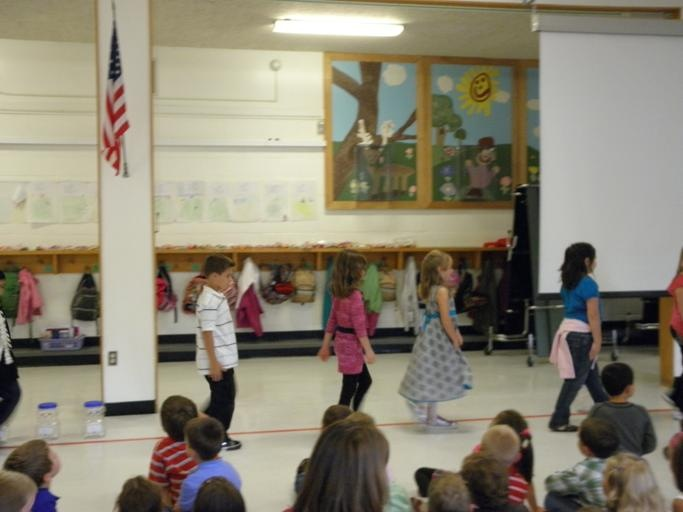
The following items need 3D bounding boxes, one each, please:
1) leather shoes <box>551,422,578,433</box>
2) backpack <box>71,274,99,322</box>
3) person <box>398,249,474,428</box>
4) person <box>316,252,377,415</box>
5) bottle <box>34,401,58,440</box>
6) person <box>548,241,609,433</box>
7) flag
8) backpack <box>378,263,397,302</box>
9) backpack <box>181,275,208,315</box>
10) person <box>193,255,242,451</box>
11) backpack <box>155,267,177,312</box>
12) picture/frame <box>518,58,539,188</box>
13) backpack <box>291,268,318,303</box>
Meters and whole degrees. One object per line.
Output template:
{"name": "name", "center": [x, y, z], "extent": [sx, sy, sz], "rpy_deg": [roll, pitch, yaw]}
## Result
{"name": "leather shoes", "center": [2.023, 1.541, 6.766], "extent": [0.258, 0.111, 0.093], "rpy_deg": [-1, 0, -11]}
{"name": "backpack", "center": [-3.196, 0.510, 9.318], "extent": [0.316, 0.550, 0.177], "rpy_deg": [-2, 1, -21]}
{"name": "person", "center": [0.852, 0.752, 6.870], "extent": [0.641, 1.604, 0.500], "rpy_deg": [-1, 1, 3]}
{"name": "person", "center": [0.040, 0.674, 6.519], "extent": [0.458, 0.947, 0.489], "rpy_deg": [-1, 1, -2]}
{"name": "bottle", "center": [-2.613, 1.460, 6.663], "extent": [0.181, 0.304, 0.200], "rpy_deg": [-2, 1, -23]}
{"name": "person", "center": [2.109, 0.728, 6.684], "extent": [0.503, 1.691, 0.296], "rpy_deg": [-1, 1, 18]}
{"name": "flag", "center": [-2.088, -1.458, 6.884], "extent": [0.248, 1.249, 0.202], "rpy_deg": [-2, 1, -17]}
{"name": "backpack", "center": [0.628, 0.367, 9.848], "extent": [0.138, 0.478, 0.259], "rpy_deg": [-1, 1, 37]}
{"name": "backpack", "center": [-1.863, 0.481, 9.425], "extent": [0.505, 0.510, 0.205], "rpy_deg": [0, 1, -17]}
{"name": "person", "center": [-1.039, 0.725, 6.253], "extent": [0.322, 1.222, 0.252], "rpy_deg": [-2, 1, -12]}
{"name": "backpack", "center": [-2.206, 0.394, 9.405], "extent": [0.263, 0.473, 0.143], "rpy_deg": [-2, 1, -38]}
{"name": "picture/frame", "center": [2.554, -1.784, 10.455], "extent": [0.188, 1.714, 0.173], "rpy_deg": [-2, 20, 8]}
{"name": "backpack", "center": [-0.462, 0.384, 9.927], "extent": [0.375, 0.543, 0.382], "rpy_deg": [0, 3, -3]}
